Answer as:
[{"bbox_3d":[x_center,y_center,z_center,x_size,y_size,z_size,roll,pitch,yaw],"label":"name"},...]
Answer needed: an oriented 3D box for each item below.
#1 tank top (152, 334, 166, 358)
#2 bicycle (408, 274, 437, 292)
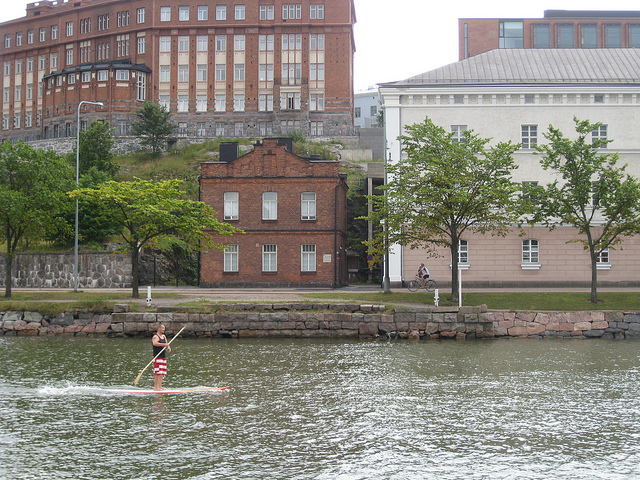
[{"bbox_3d":[-12.481,8.309,127.566,0.938,1.816,1.068,-1,-4,-5],"label":"tank top"},{"bbox_3d":[9.013,4.122,147.428,2.609,1.462,1.227,1,0,8],"label":"bicycle"}]
